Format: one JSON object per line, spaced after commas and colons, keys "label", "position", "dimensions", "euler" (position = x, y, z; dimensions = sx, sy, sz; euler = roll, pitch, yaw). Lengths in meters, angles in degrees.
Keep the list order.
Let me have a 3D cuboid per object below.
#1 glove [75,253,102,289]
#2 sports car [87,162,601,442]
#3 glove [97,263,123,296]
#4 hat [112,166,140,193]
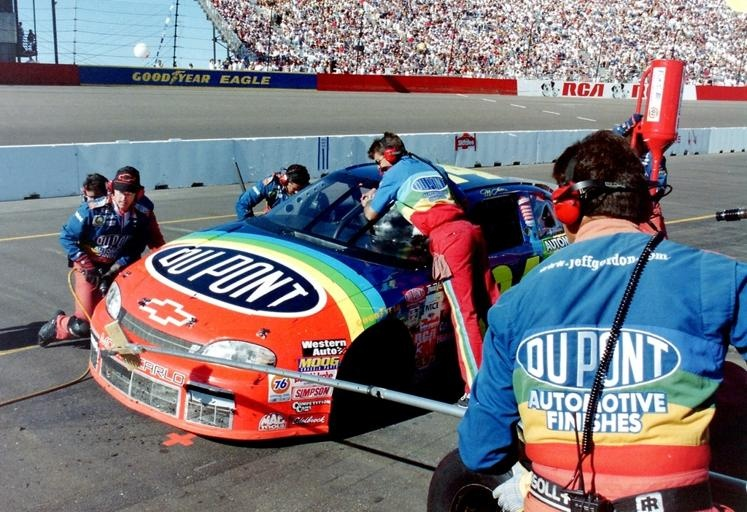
{"label": "glove", "position": [-2.532, 0.145, 6.176], "dimensions": [0.233, 0.327, 0.153], "euler": [37, 59, 11]}
{"label": "sports car", "position": [0.071, 0.271, 5.746], "dimensions": [1.849, 1.160, 3.908], "euler": [28, 25, 36]}
{"label": "glove", "position": [-2.282, 0.212, 5.871], "dimensions": [0.082, 0.110, 0.316], "euler": [25, 54, 20]}
{"label": "hat", "position": [-2.219, -0.690, 6.133], "dimensions": [0.196, 0.159, 0.288], "euler": [17, 9, -11]}
